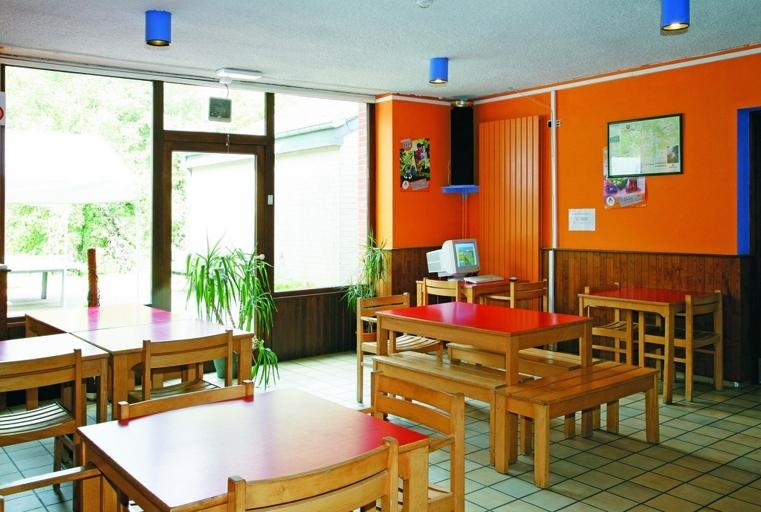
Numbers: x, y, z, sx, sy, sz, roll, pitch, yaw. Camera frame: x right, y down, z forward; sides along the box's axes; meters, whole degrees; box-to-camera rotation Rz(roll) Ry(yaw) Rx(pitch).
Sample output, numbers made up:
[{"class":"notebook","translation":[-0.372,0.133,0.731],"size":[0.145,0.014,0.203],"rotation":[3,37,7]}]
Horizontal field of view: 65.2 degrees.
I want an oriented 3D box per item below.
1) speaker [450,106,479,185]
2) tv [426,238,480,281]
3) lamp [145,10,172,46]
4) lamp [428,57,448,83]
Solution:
[{"class":"speaker","translation":[1.121,-1.531,8.230],"size":[0.317,1.060,0.394],"rotation":[-1,12,-4]},{"class":"tv","translation":[0.953,0.044,7.740],"size":[0.589,0.401,0.557],"rotation":[-3,4,-43]},{"class":"lamp","translation":[-1.861,-1.907,4.953],"size":[0.296,0.283,0.276],"rotation":[-3,11,-21]},{"class":"lamp","translation":[0.599,-1.989,6.414],"size":[0.275,0.266,0.255],"rotation":[-1,6,-4]}]
